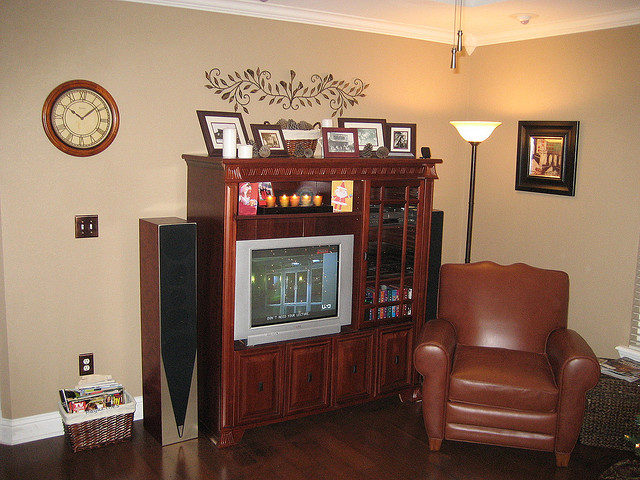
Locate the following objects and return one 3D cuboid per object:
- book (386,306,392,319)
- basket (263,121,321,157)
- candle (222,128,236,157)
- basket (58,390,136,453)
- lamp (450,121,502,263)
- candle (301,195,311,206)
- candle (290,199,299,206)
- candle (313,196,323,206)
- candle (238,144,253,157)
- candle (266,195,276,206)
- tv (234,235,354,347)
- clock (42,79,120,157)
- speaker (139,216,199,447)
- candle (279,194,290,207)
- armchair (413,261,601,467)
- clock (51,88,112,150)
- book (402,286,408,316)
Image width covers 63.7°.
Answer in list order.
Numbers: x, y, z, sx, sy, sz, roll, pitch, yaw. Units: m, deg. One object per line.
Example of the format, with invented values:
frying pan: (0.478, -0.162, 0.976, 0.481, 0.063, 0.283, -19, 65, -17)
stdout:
book: (0.570, 0.583, 4.207, 0.054, 0.093, 0.016, -5, 14, -25)
basket: (-0.160, -0.813, 4.075, 0.377, 0.229, 0.393, 1, 13, 2)
candle: (-0.629, -0.677, 3.577, 0.087, 0.191, 0.174, -1, 12, -10)
basket: (-1.564, 1.263, 3.612, 0.448, 0.271, 0.324, -3, 7, -26)
lamp: (1.358, -0.414, 4.627, 0.381, 1.297, 0.677, 5, 13, 18)
candle: (-0.107, -0.299, 3.885, 0.072, 0.081, 0.073, -1, -2, -8)
candle: (-0.182, -0.281, 3.808, 0.076, 0.049, 0.036, -7, 15, -34)
candle: (-0.019, -0.298, 3.888, 0.068, 0.073, 0.067, -4, 11, -24)
candle: (-0.521, -0.617, 3.565, 0.088, 0.062, 0.087, 0, 5, -4)
candle: (-0.357, -0.281, 3.716, 0.042, 0.068, 0.065, 6, 13, 19)
tv: (-0.223, 0.345, 3.950, 0.945, 0.761, 0.321, -3, 9, -27)
clock: (-1.679, -0.855, 3.557, 0.560, 0.625, 0.073, -2, 9, -25)
speaker: (-1.104, 0.649, 3.773, 0.418, 1.596, 0.489, -6, 14, -31)
candle: (-0.259, -0.284, 3.758, 0.071, 0.070, 0.084, 1, 12, 0)
armchair: (1.344, 0.857, 3.897, 1.220, 1.217, 0.893, 4, 12, 11)
clock: (-1.668, -0.850, 3.561, 0.422, 0.415, 0.044, 8, 7, -35)
book: (0.710, 0.507, 4.264, 0.047, 0.231, 0.076, 2, 12, 4)
